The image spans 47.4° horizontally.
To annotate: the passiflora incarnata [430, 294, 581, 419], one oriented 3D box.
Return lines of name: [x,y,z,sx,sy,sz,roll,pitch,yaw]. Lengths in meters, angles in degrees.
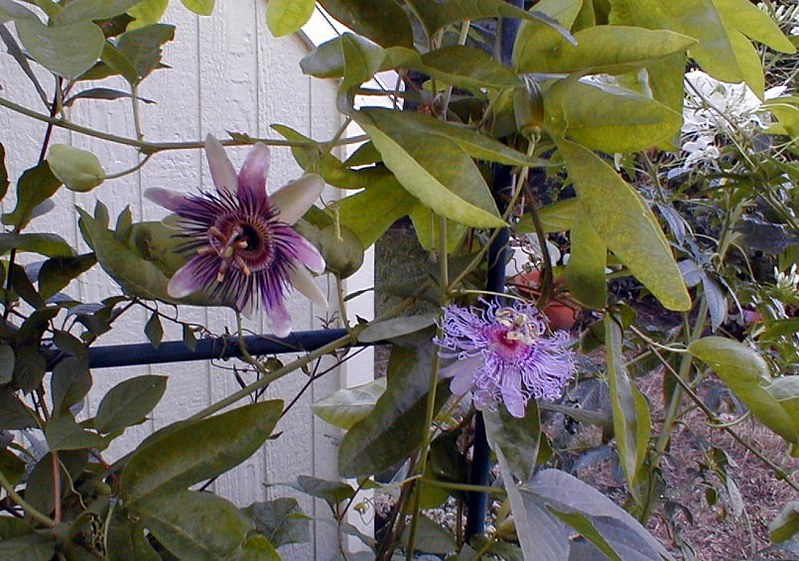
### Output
passiflora incarnata: [0.161,0.088,1.291,0.214,0.238,0.091,14,-61,6]
